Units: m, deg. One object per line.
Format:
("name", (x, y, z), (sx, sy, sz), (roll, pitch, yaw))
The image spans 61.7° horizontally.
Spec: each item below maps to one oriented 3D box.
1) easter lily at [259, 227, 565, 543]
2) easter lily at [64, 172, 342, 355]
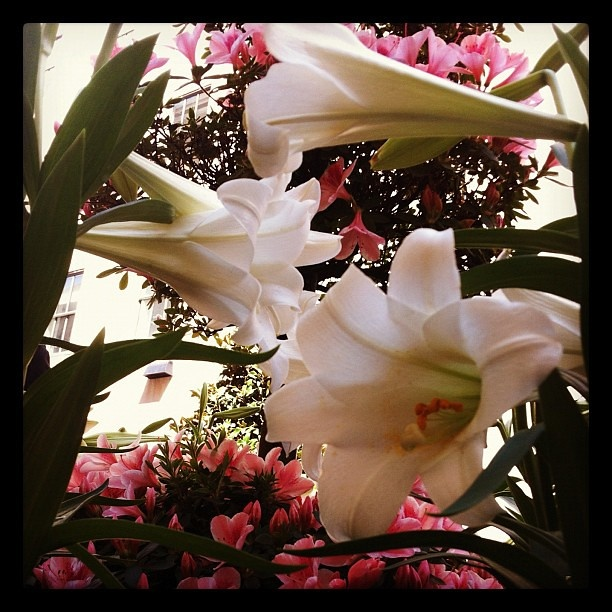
("easter lily", (0.057, 0.059, 0.316), (0.163, 0.169, 0.152), (6, -22, -3))
("easter lily", (-0.097, -0.052, 0.448), (0.208, 0.120, 0.148), (9, 4, 5))
